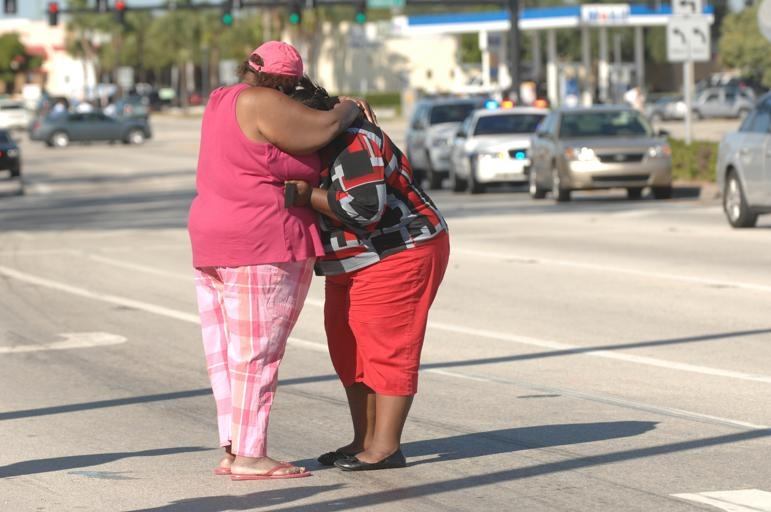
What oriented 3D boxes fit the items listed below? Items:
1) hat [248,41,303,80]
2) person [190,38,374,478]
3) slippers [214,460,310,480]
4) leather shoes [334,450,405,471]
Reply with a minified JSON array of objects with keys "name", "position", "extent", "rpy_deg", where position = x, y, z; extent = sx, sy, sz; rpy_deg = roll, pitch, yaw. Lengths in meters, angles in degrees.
[{"name":"hat","position":[-0.762,-1.489,11.411],"extent":[0.432,0.188,0.311],"rpy_deg":[12,5,-30]},{"name":"person","position":[-0.953,0.034,11.445],"extent":[1.134,3.329,0.689],"rpy_deg":[-2,14,-6]},{"name":"slippers","position":[-0.937,1.661,11.583],"extent":[0.548,0.099,0.224],"rpy_deg":[-1,3,-12]},{"name":"leather shoes","position":[-0.110,1.595,11.787],"extent":[0.587,0.166,0.185],"rpy_deg":[2,-3,-5]}]
